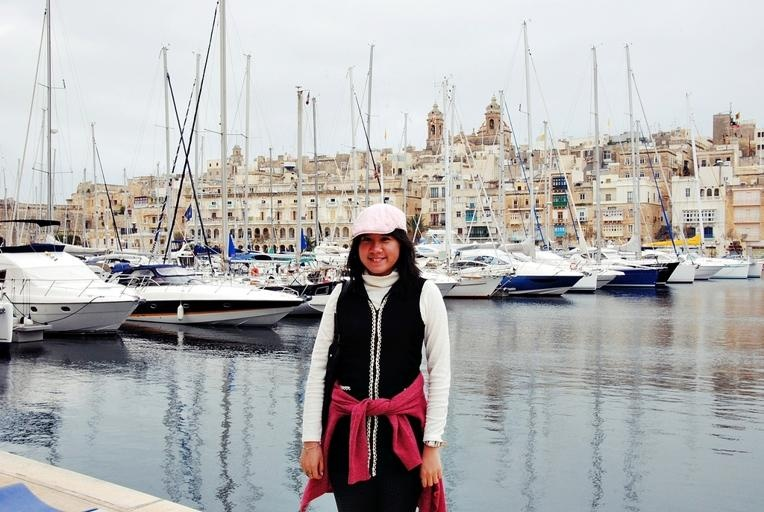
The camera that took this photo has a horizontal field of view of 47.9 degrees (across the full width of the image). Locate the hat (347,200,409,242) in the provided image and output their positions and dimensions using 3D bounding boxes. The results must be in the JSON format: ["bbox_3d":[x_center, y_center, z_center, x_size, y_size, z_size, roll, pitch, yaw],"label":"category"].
[{"bbox_3d":[-0.046,-0.440,10.811,0.707,0.436,0.965,-7,-1,23],"label":"hat"}]
